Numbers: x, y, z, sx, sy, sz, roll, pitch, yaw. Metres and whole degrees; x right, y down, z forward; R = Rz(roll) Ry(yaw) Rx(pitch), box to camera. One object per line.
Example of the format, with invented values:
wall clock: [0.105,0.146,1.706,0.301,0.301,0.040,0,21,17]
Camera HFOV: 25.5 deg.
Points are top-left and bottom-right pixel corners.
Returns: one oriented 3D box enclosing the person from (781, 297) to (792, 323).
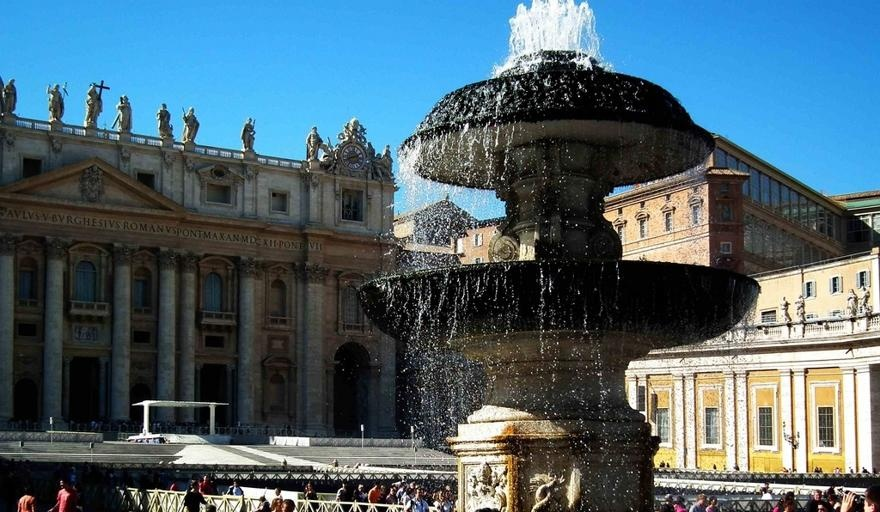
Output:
person: [19.925,3.058,111.880,0.699,1.490,1.252,2,-6,-4]

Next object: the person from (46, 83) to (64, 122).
person: [-24.121,-9.557,121.941,0.874,2.278,0.865,2,-8,-19]
